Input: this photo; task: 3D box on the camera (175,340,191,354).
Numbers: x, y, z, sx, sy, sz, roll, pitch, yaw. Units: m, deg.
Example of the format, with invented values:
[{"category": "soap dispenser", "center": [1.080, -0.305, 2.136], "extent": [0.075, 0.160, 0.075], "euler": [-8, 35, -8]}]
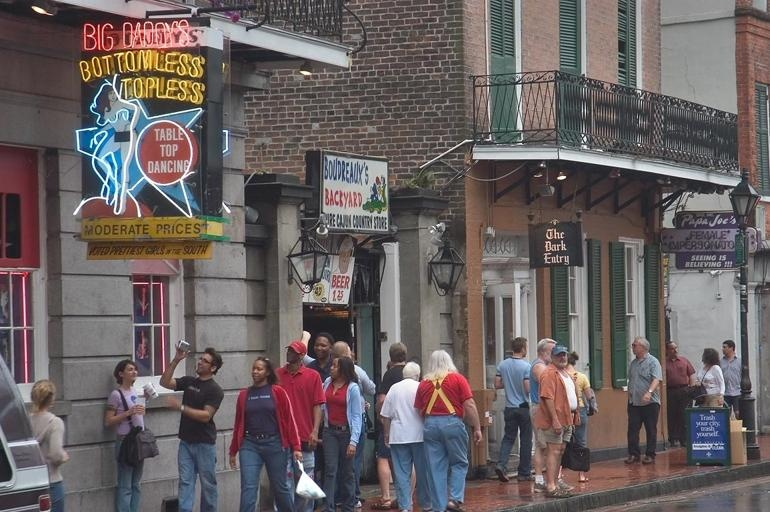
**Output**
[{"category": "camera", "center": [-3.031, 1.383, 24.072], "extent": [0.095, 0.127, 0.176], "euler": [22, 0, 34]}]

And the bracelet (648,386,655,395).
[{"category": "bracelet", "center": [4.884, 2.518, 29.775], "extent": [0.110, 0.043, 0.106], "euler": [-19, -38, -36]}]

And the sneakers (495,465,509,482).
[{"category": "sneakers", "center": [1.994, 3.820, 27.907], "extent": [0.133, 0.145, 0.377], "euler": [-7, -48, 24]}]

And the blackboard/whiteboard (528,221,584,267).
[{"category": "blackboard/whiteboard", "center": [3.138, -0.177, 29.864], "extent": [0.803, 0.700, 0.088], "euler": [-1, -2, 16]}]

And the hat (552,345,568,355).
[{"category": "hat", "center": [2.812, 1.543, 26.135], "extent": [0.195, 0.165, 0.462], "euler": [-2, -6, 13]}]

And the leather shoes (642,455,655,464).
[{"category": "leather shoes", "center": [4.947, 3.862, 30.406], "extent": [0.123, 0.146, 0.343], "euler": [0, -8, 17]}]

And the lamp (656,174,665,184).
[{"category": "lamp", "center": [5.565, -1.508, 32.729], "extent": [0.149, 0.110, 0.370], "euler": [-2, -6, 9]}]

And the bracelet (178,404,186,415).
[{"category": "bracelet", "center": [-2.985, 2.261, 23.570], "extent": [0.080, 0.128, 0.120], "euler": [-1, -2, -44]}]

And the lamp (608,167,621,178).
[{"category": "lamp", "center": [4.448, -1.566, 31.386], "extent": [0.138, 0.211, 0.233], "euler": [0, -5, 5]}]

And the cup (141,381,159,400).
[{"category": "cup", "center": [-3.488, 2.018, 23.855], "extent": [0.155, 0.162, 0.224], "euler": [-4, 37, -34]}]

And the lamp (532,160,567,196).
[{"category": "lamp", "center": [3.058, -1.357, 30.771], "extent": [0.622, 0.727, 0.619], "euler": [-5, -29, 25]}]

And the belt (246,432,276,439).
[{"category": "belt", "center": [-1.801, 2.618, 23.207], "extent": [0.428, 0.079, 0.092], "euler": [-1, -6, 0]}]

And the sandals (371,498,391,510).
[{"category": "sandals", "center": [-0.082, 3.932, 25.383], "extent": [0.296, 0.157, 0.148], "euler": [3, 3, 27]}]

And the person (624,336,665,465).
[{"category": "person", "center": [4.810, 2.737, 30.273], "extent": [0.666, 2.348, 1.150], "euler": [-1, -5, 7]}]

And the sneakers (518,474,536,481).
[{"category": "sneakers", "center": [2.446, 3.865, 28.182], "extent": [0.318, 0.131, 0.107], "euler": [-2, 11, -23]}]

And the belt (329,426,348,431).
[{"category": "belt", "center": [-0.712, 2.628, 24.452], "extent": [0.258, 0.072, 0.064], "euler": [0, -6, -13]}]

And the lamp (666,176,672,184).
[{"category": "lamp", "center": [5.718, -1.502, 32.759], "extent": [0.101, 0.128, 0.203], "euler": [-3, 8, 2]}]

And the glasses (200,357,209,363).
[{"category": "glasses", "center": [-2.644, 1.534, 23.558], "extent": [0.077, 0.058, 0.105], "euler": [1, -41, 7]}]

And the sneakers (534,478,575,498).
[{"category": "sneakers", "center": [2.687, 3.789, 26.212], "extent": [0.516, 0.216, 0.294], "euler": [-4, -4, 25]}]

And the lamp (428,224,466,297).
[{"category": "lamp", "center": [1.084, 0.077, 28.564], "extent": [0.549, 1.240, 0.649], "euler": [-3, -6, 18]}]

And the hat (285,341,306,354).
[{"category": "hat", "center": [-1.294, 1.389, 23.989], "extent": [0.178, 0.201, 0.395], "euler": [-4, -7, 32]}]

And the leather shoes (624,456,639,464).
[{"category": "leather shoes", "center": [4.661, 3.883, 30.498], "extent": [0.219, 0.108, 0.117], "euler": [9, -7, -37]}]

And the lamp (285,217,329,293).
[{"category": "lamp", "center": [-1.245, -0.008, 26.426], "extent": [0.630, 1.262, 0.982], "euler": [-1, -6, 5]}]
